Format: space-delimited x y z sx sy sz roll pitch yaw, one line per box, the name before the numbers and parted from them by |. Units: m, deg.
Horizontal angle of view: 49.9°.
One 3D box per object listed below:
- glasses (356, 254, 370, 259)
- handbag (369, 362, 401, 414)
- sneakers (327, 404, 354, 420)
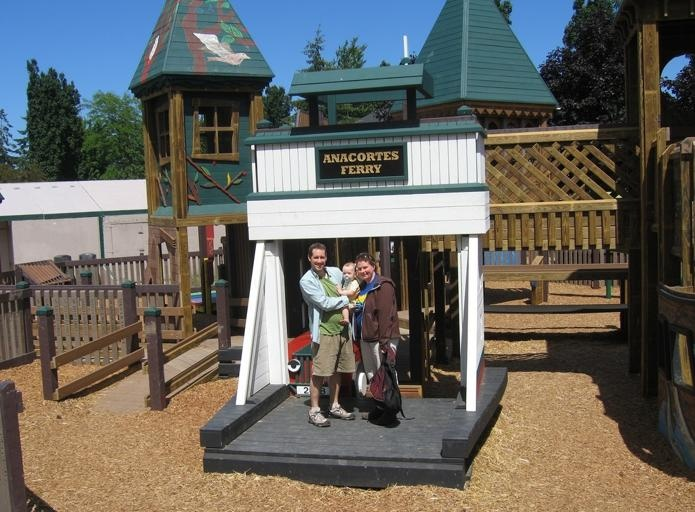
glasses | 0.225 0.011 11.159 0.092 0.044 0.114 3 9 19
handbag | 0.510 1.882 10.840 0.290 0.584 0.540 -7 6 -15
sneakers | -0.105 2.361 11.313 0.432 0.230 0.168 2 1 11
